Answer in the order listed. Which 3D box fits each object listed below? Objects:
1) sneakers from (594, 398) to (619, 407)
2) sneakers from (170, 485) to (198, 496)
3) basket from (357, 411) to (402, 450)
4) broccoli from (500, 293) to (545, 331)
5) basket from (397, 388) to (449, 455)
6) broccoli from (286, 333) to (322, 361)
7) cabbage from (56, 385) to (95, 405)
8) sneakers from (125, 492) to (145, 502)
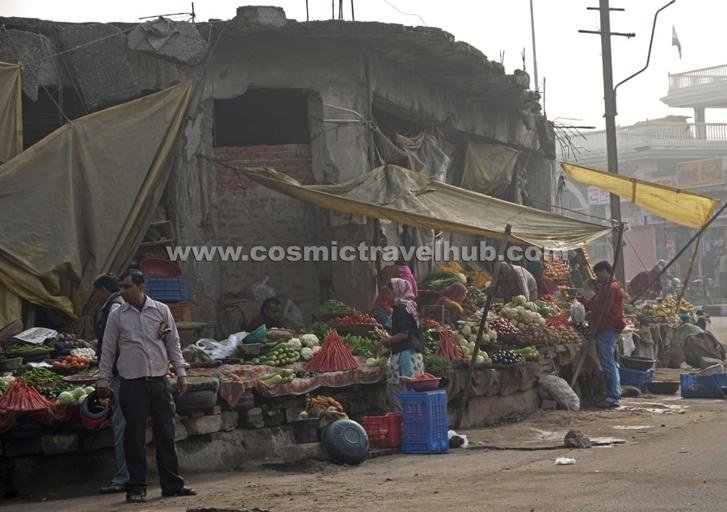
[{"bbox_3d":[4.023,2.428,19.421,0.332,0.156,0.152,1,-5,13],"label":"sneakers"},{"bbox_3d":[-2.340,3.048,15.281,0.340,0.156,0.133,5,-10,-1],"label":"sneakers"},{"bbox_3d":[0.243,2.542,17.067,0.588,0.463,0.360,-3,-2,18],"label":"basket"},{"bbox_3d":[2.774,1.020,20.522,0.591,0.488,0.327,8,-35,23],"label":"broccoli"},{"bbox_3d":[0.743,2.365,16.779,0.741,1.306,0.829,-1,-3,26],"label":"basket"},{"bbox_3d":[-0.911,1.402,18.141,0.344,0.246,0.445,4,-1,-41],"label":"broccoli"},{"bbox_3d":[-3.928,1.906,16.014,0.448,0.200,0.226,-14,12,8],"label":"cabbage"},{"bbox_3d":[-2.917,3.080,15.022,0.158,0.059,0.123,-2,10,4],"label":"sneakers"}]
